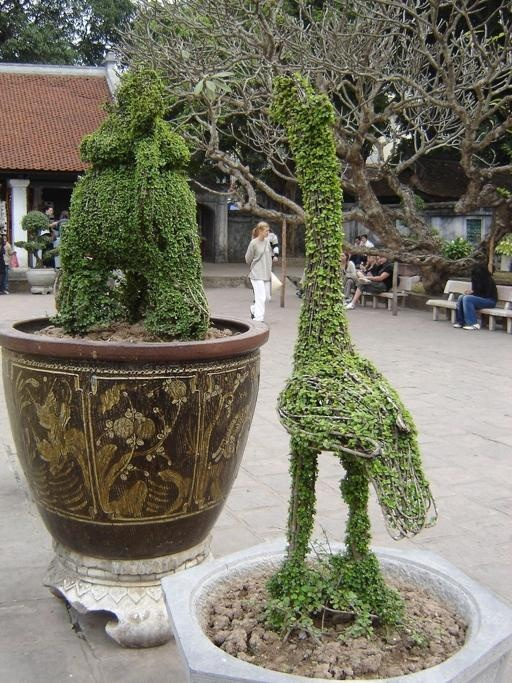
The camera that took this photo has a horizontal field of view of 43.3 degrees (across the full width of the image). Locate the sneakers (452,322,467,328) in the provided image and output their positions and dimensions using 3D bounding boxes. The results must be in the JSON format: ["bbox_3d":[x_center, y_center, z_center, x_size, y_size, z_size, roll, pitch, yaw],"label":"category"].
[{"bbox_3d":[3.627,-0.295,11.415,0.128,0.114,0.310,1,1,-2],"label":"sneakers"}]

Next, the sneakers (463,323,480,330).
[{"bbox_3d":[3.775,-0.271,11.224,0.333,0.119,0.100,3,9,8],"label":"sneakers"}]
